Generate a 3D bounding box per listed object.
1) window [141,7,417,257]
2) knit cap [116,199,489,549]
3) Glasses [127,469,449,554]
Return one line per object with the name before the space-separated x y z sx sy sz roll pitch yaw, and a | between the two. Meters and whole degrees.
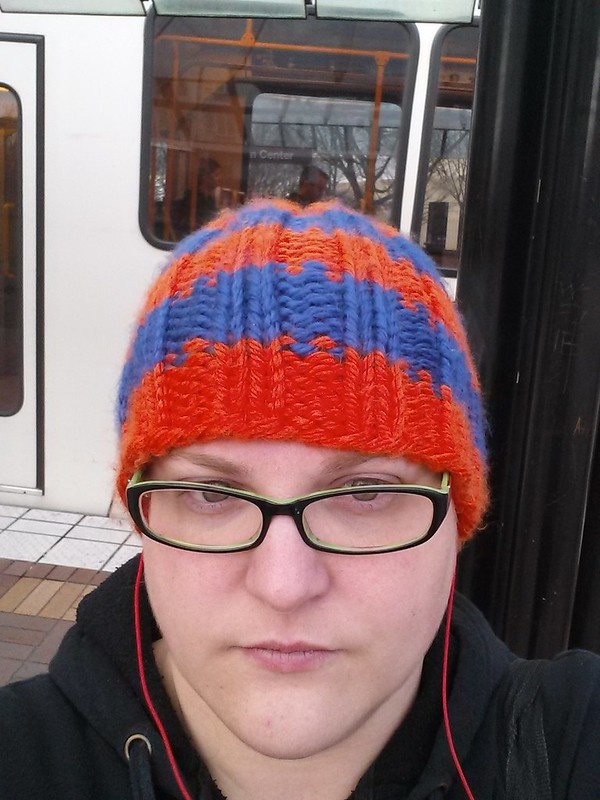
window | -0.058 -1.119 3.354 1.150 0.983 0.055 1 -7 -11
knit cap | -0.016 -0.071 1.731 0.769 0.557 0.733 2 -5 -17
Glasses | -0.025 0.182 1.397 0.543 0.142 0.139 2 17 2
